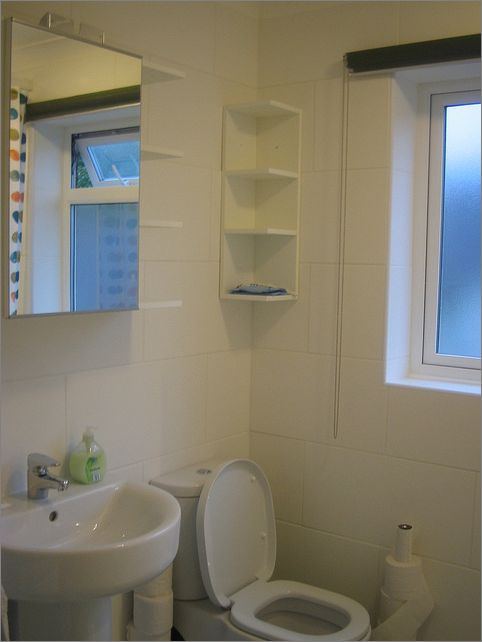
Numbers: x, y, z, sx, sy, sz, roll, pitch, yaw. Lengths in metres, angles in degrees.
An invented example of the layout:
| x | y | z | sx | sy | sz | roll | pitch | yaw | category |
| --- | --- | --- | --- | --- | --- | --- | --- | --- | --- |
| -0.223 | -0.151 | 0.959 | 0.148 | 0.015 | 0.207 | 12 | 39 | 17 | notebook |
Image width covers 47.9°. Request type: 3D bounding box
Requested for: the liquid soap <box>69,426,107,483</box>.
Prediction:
| x | y | z | sx | sy | sz | roll | pitch | yaw | category |
| --- | --- | --- | --- | --- | --- | --- | --- | --- | --- |
| -0.410 | 0.358 | 1.434 | 0.095 | 0.153 | 0.062 | -1 | 3 | -21 | liquid soap |

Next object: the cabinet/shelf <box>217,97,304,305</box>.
| x | y | z | sx | sy | sz | roll | pitch | yaw | category |
| --- | --- | --- | --- | --- | --- | --- | --- | --- | --- |
| 0.068 | -0.428 | 1.990 | 0.215 | 0.702 | 0.252 | 3 | 8 | 7 | cabinet/shelf |
